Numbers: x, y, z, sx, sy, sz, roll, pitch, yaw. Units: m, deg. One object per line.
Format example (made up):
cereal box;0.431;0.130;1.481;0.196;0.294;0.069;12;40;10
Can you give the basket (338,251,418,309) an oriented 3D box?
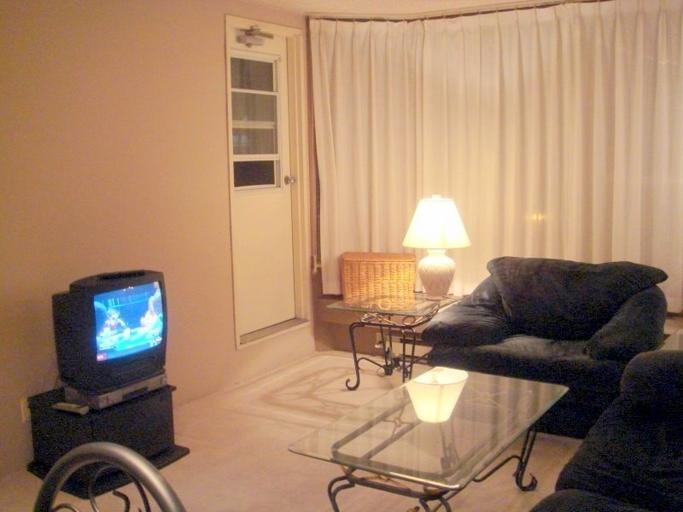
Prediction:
basket;0.296;0.168;4.575;0.670;0.461;0.376;0;1;10

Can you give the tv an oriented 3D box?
tv;-1.299;0.443;3.098;0.435;0.718;0.705;3;7;39

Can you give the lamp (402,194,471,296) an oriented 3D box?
lamp;0.789;-0.069;4.473;0.563;0.782;0.553;-2;1;36

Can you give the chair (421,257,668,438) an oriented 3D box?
chair;1.400;0.562;3.739;1.427;0.941;1.053;0;9;37
